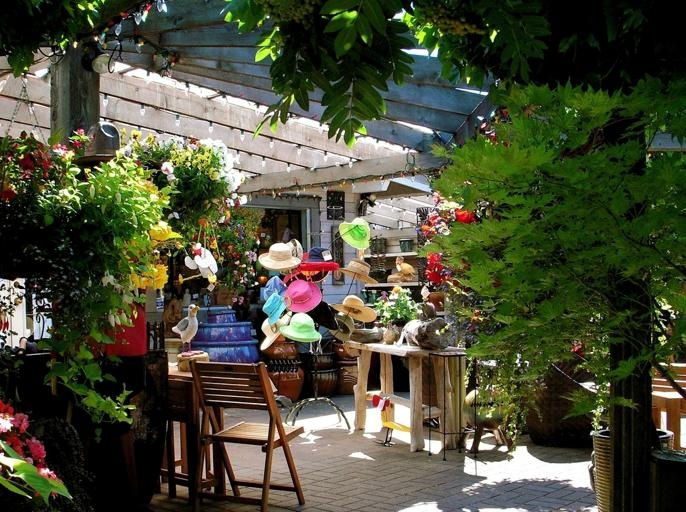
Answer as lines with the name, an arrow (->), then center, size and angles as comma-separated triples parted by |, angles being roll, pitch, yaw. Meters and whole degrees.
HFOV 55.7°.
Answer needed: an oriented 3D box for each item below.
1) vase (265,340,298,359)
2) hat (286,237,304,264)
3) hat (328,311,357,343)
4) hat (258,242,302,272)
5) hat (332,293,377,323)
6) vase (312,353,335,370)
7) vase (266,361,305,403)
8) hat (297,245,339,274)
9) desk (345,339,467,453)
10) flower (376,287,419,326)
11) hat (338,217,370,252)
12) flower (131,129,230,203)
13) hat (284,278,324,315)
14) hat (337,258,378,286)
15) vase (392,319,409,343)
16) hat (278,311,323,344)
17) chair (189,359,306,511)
vase -> -0.875, 1.340, 9.211 | 0.326, 0.171, 0.317 | 3, -4, -39
hat -> -0.503, -0.068, 7.005 | 0.129, 0.260, 0.187 | -14, 6, 0
hat -> -0.002, 0.738, 6.766 | 0.272, 0.290, 0.115 | 29, 42, 17
hat -> -0.595, 0.006, 6.127 | 0.379, 0.283, 0.382 | 0, -3, -6
hat -> 0.190, 0.535, 6.943 | 0.316, 0.131, 0.363 | -8, -37, 39
vase -> -0.280, 1.523, 9.364 | 0.305, 0.152, 0.316 | 0, -12, 0
vase -> -0.808, 1.718, 9.313 | 0.587, 0.653, 0.571 | 0, 12, 12
hat -> -0.241, 0.005, 6.472 | 0.324, 0.130, 0.349 | -1, -10, 6
desk -> 0.663, 1.488, 6.799 | 0.883, 1.074, 1.888 | -1, 1, -31
flower -> 0.626, 0.619, 7.633 | 0.499, 0.417, 0.474 | -3, -9, -10
hat -> 0.113, -0.241, 6.765 | 0.273, 0.374, 0.525 | -1, -3, -3
flower -> -1.002, -0.560, 4.039 | 0.457, 0.419, 0.532 | -3, -4, 36
hat -> -0.360, 0.351, 5.737 | 0.301, 0.293, 0.350 | 0, -3, -5
hat -> 0.178, 0.162, 7.105 | 0.367, 0.172, 0.364 | 14, -21, 41
vase -> 0.640, 0.833, 7.310 | 0.216, 0.194, 0.245 | -1, -12, 6
hat -> -0.381, 0.617, 5.580 | 0.336, 0.250, 0.425 | 0, -3, -5
chair -> -0.688, 1.285, 4.737 | 0.766, 1.096, 0.953 | -1, -3, -2
